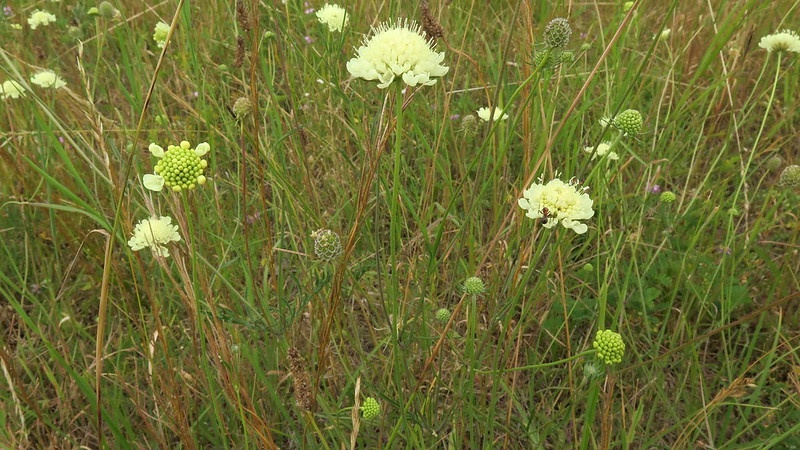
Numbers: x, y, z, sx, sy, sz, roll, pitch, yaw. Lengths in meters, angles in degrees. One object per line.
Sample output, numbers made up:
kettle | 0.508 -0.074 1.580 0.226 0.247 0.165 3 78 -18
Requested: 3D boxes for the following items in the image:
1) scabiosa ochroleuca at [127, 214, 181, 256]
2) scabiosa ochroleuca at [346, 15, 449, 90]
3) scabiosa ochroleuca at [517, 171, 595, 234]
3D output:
scabiosa ochroleuca | -1.573 0.027 4.215 0.128 0.225 0.224 -24 55 -30
scabiosa ochroleuca | -0.029 -1.127 3.915 0.527 0.335 0.562 -3 26 -1
scabiosa ochroleuca | 1.003 -0.081 4.086 0.444 0.330 0.367 -9 42 -13
